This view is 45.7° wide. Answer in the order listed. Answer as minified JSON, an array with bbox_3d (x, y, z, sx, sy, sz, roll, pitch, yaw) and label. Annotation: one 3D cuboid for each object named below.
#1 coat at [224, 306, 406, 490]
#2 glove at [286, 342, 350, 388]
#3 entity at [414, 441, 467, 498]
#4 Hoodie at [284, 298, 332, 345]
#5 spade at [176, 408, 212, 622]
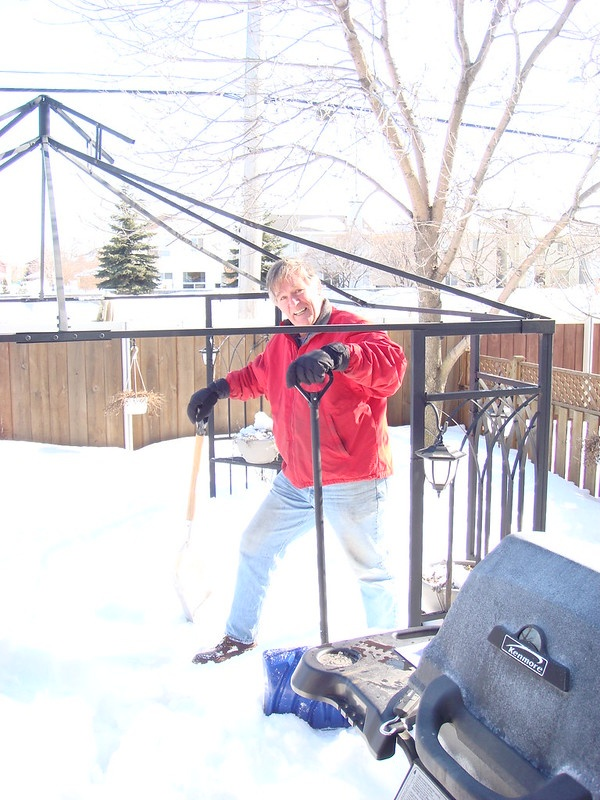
[{"bbox_3d":[0.030,-0.004,2.567,0.500,0.655,0.865,-2,-1,-34],"label":"coat"},{"bbox_3d":[0.068,-0.112,2.155,0.116,0.125,0.283,6,9,26],"label":"glove"},{"bbox_3d":[0.442,0.208,2.238,0.136,0.158,0.145,2,4,-1],"label":"entity"},{"bbox_3d":[0.040,-0.315,2.588,0.135,0.107,0.179,-38,2,21],"label":"Hoodie"},{"bbox_3d":[-0.575,0.642,3.894,0.162,1.577,0.620,3,8,-6],"label":"spade"}]
